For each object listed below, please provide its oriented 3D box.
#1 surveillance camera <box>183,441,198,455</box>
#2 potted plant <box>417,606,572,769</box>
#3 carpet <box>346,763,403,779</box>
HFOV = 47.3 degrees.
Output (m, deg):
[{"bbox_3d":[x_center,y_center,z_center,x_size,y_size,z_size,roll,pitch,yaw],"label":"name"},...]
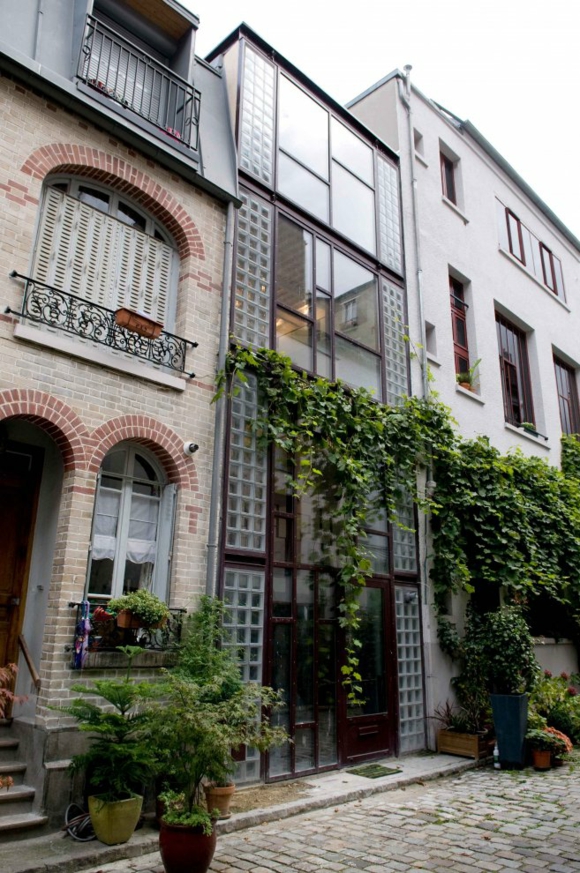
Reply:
[{"bbox_3d":[-1.043,0.101,7.041,0.116,0.173,0.168,-1,1,43],"label":"surveillance camera"},{"bbox_3d":[2.993,3.557,9.624,1.815,2.663,1.938,8,-9,-44],"label":"potted plant"},{"bbox_3d":[1.017,4.027,7.980,0.537,0.011,0.839,-9,-20,33],"label":"carpet"}]
